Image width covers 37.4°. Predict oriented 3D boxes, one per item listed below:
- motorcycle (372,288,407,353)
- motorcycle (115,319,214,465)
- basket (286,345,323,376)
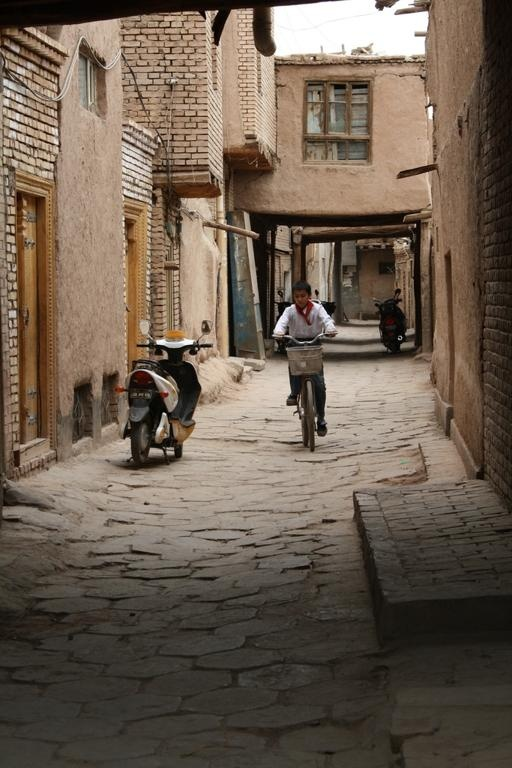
[{"bbox_3d":[4.266,-1.837,23.401,0.899,1.590,2.780,-18,-12,6],"label":"motorcycle"},{"bbox_3d":[-1.015,0.105,8.663,0.971,1.612,1.708,-4,5,-4],"label":"motorcycle"},{"bbox_3d":[0.572,-0.259,8.884,0.390,0.363,0.339,-4,5,2],"label":"basket"}]
